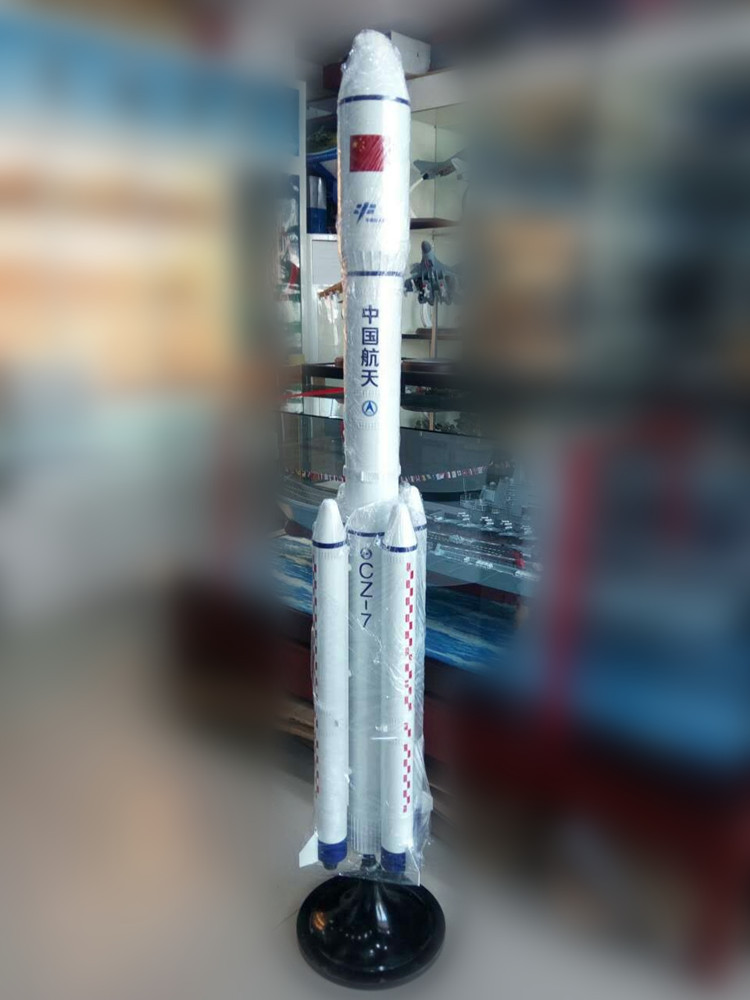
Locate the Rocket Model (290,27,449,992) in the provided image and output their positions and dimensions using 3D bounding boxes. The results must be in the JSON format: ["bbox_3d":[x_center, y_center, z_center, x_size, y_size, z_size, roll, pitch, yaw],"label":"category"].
[{"bbox_3d":[-0.003,0.031,1.140,0.215,1.211,0.286,1,14,5],"label":"Rocket Model"}]
